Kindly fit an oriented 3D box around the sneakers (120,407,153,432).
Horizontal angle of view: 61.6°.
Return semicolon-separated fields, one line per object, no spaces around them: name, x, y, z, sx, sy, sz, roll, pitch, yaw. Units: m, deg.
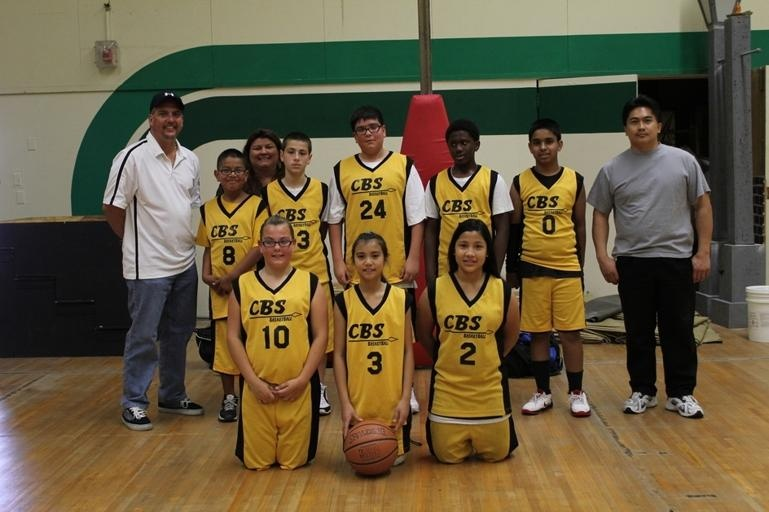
sneakers;-1.737;1.156;4.558;0.104;0.118;0.279;0;2;-30

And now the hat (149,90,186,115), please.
hat;-1.549;-1.090;4.587;0.203;0.139;0.165;-7;13;-23

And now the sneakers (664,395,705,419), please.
sneakers;2.141;1.080;4.613;0.111;0.119;0.269;4;-7;-32

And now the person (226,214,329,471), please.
person;-0.683;0.583;4.107;0.617;1.626;0.512;-1;8;-10

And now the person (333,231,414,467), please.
person;-0.071;0.579;4.020;0.490;1.402;0.490;-1;12;1

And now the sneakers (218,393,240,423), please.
sneakers;-1.134;1.117;4.703;0.091;0.105;0.233;0;-4;-5

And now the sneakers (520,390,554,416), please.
sneakers;1.117;1.079;4.689;0.256;0.122;0.108;-1;-7;-43

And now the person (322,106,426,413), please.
person;-0.053;0.012;4.644;0.718;2.115;0.510;2;6;14

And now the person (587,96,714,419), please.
person;1.898;-0.005;4.606;0.820;2.202;0.525;3;13;18

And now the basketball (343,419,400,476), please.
basketball;-0.082;1.139;3.972;0.318;0.315;0.309;3;-2;0

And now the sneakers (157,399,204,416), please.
sneakers;-1.503;1.123;4.822;0.334;0.136;0.126;0;-5;5

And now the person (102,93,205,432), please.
person;-1.614;0.028;4.621;0.720;2.328;0.519;-7;13;-26

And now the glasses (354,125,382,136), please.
glasses;-0.111;-0.878;4.508;0.185;0.062;0.070;-2;12;-3

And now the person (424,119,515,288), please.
person;0.607;-0.132;4.721;0.652;1.615;0.341;-1;0;17

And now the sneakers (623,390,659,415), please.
sneakers;1.832;1.069;4.641;0.308;0.134;0.113;4;-12;-27

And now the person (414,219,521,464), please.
person;0.529;0.532;4.036;0.634;1.478;0.399;-1;12;3
